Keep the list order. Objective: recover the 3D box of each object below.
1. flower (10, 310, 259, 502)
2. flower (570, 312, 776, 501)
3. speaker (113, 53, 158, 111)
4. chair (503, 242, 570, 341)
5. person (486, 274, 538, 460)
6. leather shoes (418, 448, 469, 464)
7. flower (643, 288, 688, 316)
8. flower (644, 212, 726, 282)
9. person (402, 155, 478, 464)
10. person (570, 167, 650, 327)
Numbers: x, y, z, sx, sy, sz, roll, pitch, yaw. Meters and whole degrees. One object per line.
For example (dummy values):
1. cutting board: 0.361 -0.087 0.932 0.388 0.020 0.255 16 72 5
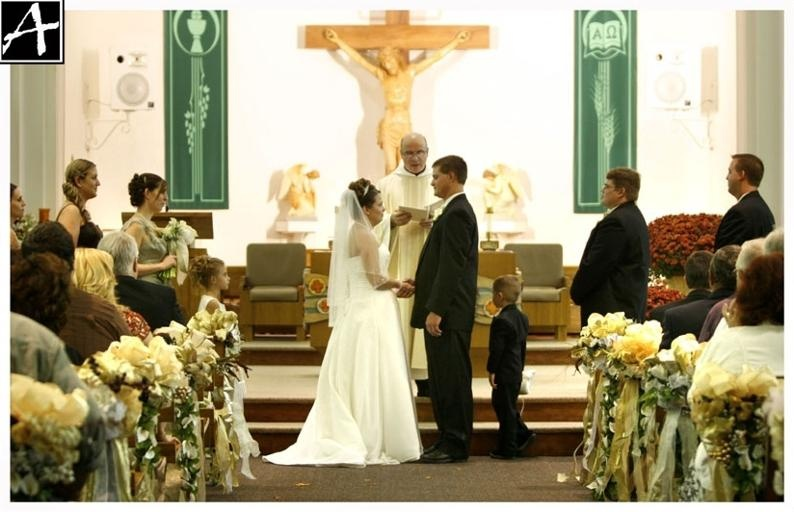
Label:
1. flower: -1.346 0.752 3.964 1.237 1.238 0.891 -1 4 1
2. flower: 1.532 0.819 4.282 0.555 1.055 1.020 -1 -18 -1
3. speaker: -3.557 -2.333 10.520 0.563 0.768 0.223 -3 6 -9
4. chair: 1.621 0.398 9.117 0.782 1.044 0.923 -2 3 4
5. person: 0.866 0.839 5.895 0.344 1.384 0.417 1 2 10
6. leather shoes: 0.349 1.455 5.806 0.348 0.152 0.133 5 -9 -7
7. flower: 2.267 0.351 6.624 0.380 0.215 0.386 -1 -2 -1
8. flower: 2.549 -0.063 6.958 0.617 0.615 0.592 0 0 -6
9. person: 0.345 0.382 5.755 0.474 2.256 0.322 1 2 0
10. person: 1.594 -0.074 5.847 0.556 1.185 0.407 1 2 16
